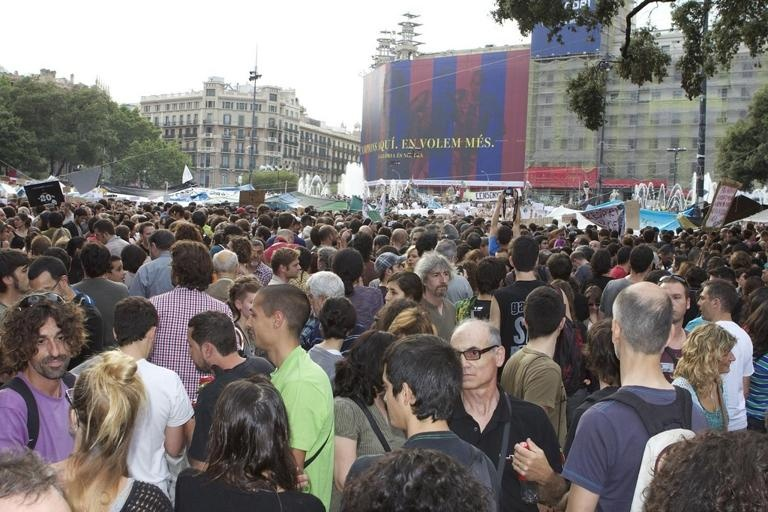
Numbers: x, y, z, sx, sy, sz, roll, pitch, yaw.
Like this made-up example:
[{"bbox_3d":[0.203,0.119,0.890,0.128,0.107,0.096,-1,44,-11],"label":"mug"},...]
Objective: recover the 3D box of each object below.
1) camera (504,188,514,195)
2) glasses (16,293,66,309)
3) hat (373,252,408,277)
[{"bbox_3d":[1.990,-1.026,15.762,0.123,0.094,0.046,-6,-7,43],"label":"camera"},{"bbox_3d":[-3.208,0.410,9.237,0.403,0.131,0.180,0,3,-19],"label":"glasses"},{"bbox_3d":[0.069,0.074,12.470,0.333,0.194,0.241,-20,13,-13],"label":"hat"}]
